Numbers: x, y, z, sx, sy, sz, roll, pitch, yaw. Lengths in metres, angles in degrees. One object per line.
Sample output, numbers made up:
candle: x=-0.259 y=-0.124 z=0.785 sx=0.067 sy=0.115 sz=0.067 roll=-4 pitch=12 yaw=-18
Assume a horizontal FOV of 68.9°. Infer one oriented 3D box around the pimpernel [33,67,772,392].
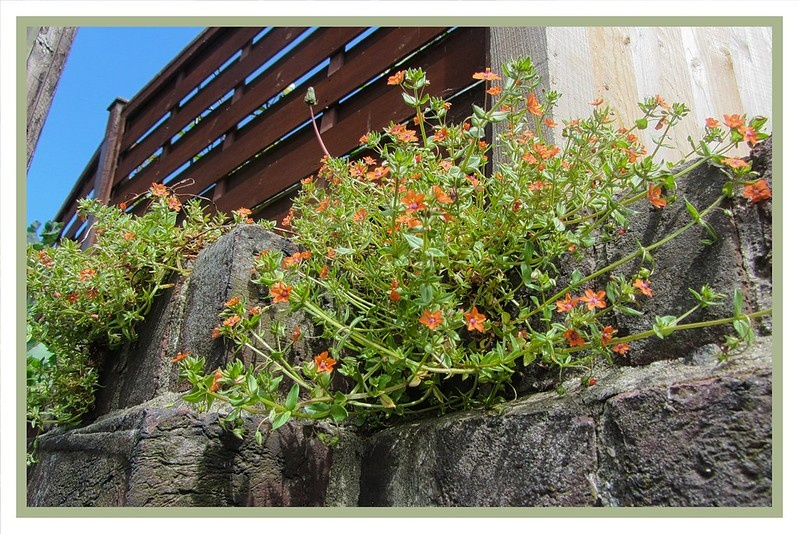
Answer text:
pimpernel: x=0.101 y=-0.121 z=2.192 sx=1.748 sy=0.711 sz=1.183 roll=3 pitch=8 yaw=27
